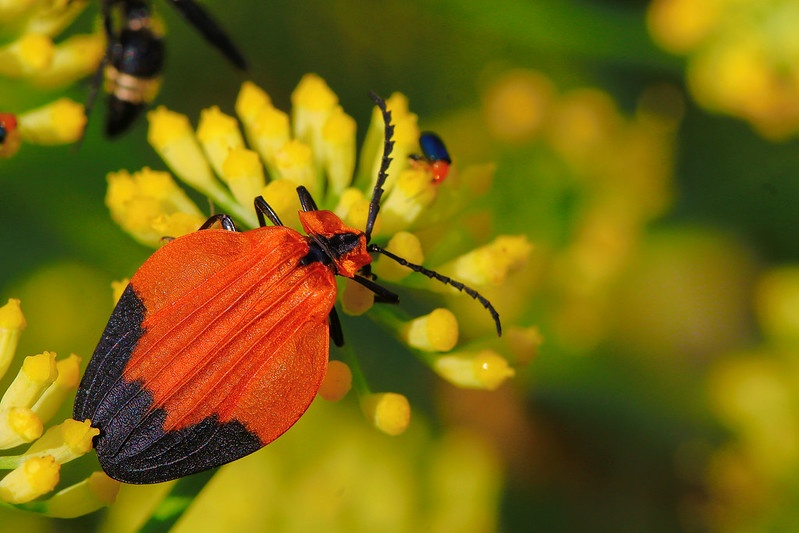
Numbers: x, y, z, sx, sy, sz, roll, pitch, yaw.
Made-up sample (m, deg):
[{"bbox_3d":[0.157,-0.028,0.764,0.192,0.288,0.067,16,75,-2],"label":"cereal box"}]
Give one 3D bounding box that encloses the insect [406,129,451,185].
[{"bbox_3d":[0.124,-0.384,2.994,0.055,0.136,0.174,-22,59,-30],"label":"insect"}]
